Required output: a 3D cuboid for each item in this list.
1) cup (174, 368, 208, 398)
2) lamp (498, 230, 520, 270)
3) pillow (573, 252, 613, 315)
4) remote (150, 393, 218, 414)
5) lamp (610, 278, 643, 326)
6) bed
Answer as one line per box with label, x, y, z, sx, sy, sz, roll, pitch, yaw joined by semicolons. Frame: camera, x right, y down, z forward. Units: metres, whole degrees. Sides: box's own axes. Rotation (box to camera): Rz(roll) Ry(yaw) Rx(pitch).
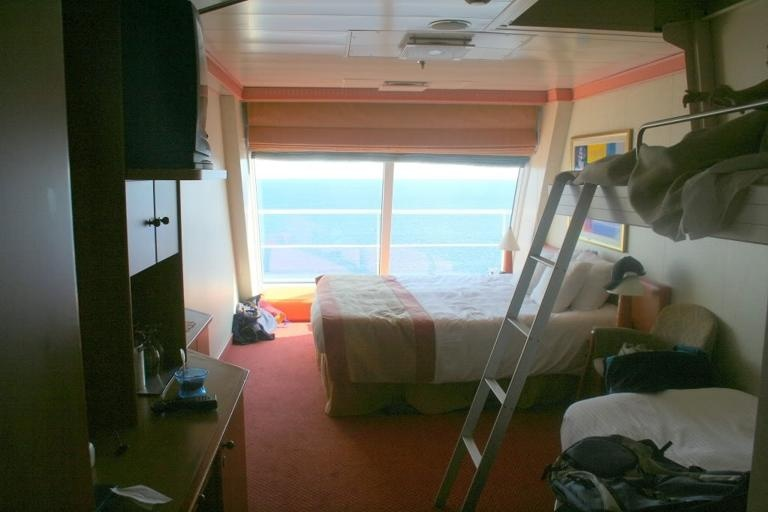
cup;-0.937;0.611;2.742;0.132;0.092;0.137;1;11;0
lamp;1.525;-0.059;6.935;0.205;0.605;0.809;1;8;11
pillow;1.820;0.250;4.962;0.174;0.415;0.428;33;-19;-18
remote;-0.927;0.673;2.654;0.211;0.046;0.110;0;1;-18
lamp;1.959;0.370;4.561;0.257;0.423;0.256;11;27;29
bed;0.537;0.635;5.733;2.639;0.666;2.593;0;12;-17
